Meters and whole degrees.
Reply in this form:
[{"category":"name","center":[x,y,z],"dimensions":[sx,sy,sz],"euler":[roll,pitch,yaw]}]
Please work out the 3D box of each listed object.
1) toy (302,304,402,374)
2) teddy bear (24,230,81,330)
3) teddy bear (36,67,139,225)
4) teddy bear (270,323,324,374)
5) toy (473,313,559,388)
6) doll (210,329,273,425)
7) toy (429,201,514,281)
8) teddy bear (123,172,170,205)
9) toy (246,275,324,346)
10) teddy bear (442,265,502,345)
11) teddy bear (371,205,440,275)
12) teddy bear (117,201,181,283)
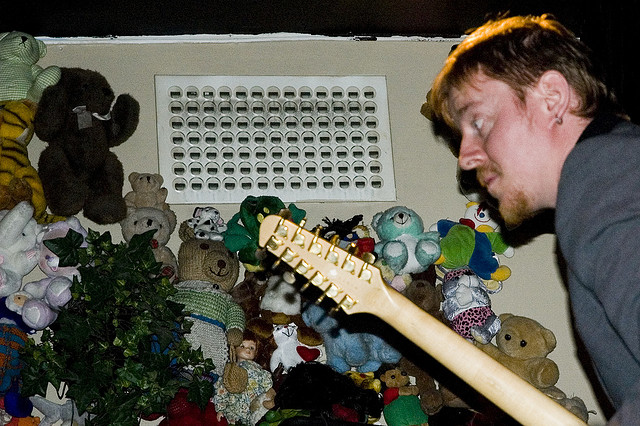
[{"category":"toy","center":[0.105,0.449,2.258],"dimensions":[0.275,0.082,0.223],"euler":[40,13,-14]},{"category":"teddy bear","center":[-0.903,0.234,2.196],"dimensions":[0.171,0.321,0.316],"euler":[0,6,-24]},{"category":"teddy bear","center":[-0.858,-0.273,2.492],"dimensions":[0.379,0.575,0.244],"euler":[-5,-12,-14]},{"category":"teddy bear","center":[-0.082,0.473,2.266],"dimensions":[0.121,0.165,0.100],"euler":[-13,-26,-47]},{"category":"toy","center":[0.705,0.494,2.332],"dimensions":[0.357,0.234,0.182],"euler":[8,-16,38]},{"category":"doll","center":[-0.267,0.546,2.153],"dimensions":[0.216,0.287,0.115],"euler":[-3,-22,6]},{"category":"toy","center":[0.576,0.078,2.493],"dimensions":[0.347,0.358,0.088],"euler":[12,-38,-2]},{"category":"teddy bear","center":[-0.659,-0.074,2.444],"dimensions":[0.190,0.157,0.083],"euler":[3,-5,-30]},{"category":"toy","center":[-0.135,0.339,2.286],"dimensions":[0.246,0.265,0.087],"euler":[7,36,9]},{"category":"teddy bear","center":[0.545,0.313,2.343],"dimensions":[0.246,0.323,0.123],"euler":[-19,-46,24]},{"category":"teddy bear","center":[0.315,0.088,2.465],"dimensions":[0.276,0.188,0.356],"euler":[-8,25,-1]},{"category":"teddy bear","center":[-0.636,0.105,2.364],"dimensions":[0.225,0.300,0.204],"euler":[4,1,-18]}]
